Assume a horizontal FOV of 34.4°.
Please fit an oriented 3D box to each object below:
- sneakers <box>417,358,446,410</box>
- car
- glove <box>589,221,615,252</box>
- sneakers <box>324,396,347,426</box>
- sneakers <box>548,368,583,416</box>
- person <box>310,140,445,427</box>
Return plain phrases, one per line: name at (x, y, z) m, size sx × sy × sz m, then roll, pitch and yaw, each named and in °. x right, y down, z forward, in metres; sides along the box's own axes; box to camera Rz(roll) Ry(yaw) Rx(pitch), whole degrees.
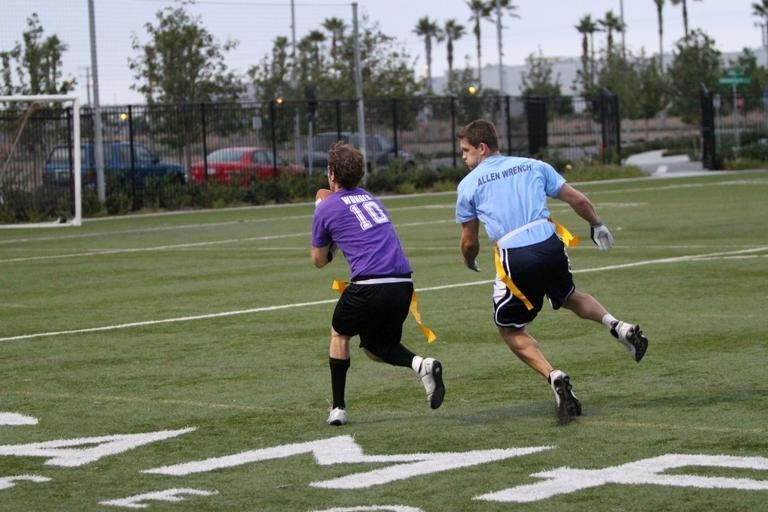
sneakers at (0.511, 1.260, 12.596) m, size 0.205 × 0.556 × 0.253 m, roll -25°, pitch 14°, yaw -39°
car at (-4.215, -2.757, 36.789) m, size 0.666 × 1.046 × 3.485 m, roll 4°, pitch 10°, yaw 40°
glove at (2.337, -0.210, 13.272) m, size 0.215 × 0.310 × 0.095 m, roll -39°, pitch 8°, yaw 12°
sneakers at (-0.490, 1.614, 12.760) m, size 0.262 × 0.259 × 0.575 m, roll 1°, pitch 4°, yaw -2°
sneakers at (1.845, 1.407, 12.558) m, size 0.215 × 0.592 × 0.256 m, roll -21°, pitch 0°, yaw -17°
person at (-0.205, 0.265, 12.792) m, size 1.032 × 2.861 × 0.629 m, roll -3°, pitch 7°, yaw -4°
